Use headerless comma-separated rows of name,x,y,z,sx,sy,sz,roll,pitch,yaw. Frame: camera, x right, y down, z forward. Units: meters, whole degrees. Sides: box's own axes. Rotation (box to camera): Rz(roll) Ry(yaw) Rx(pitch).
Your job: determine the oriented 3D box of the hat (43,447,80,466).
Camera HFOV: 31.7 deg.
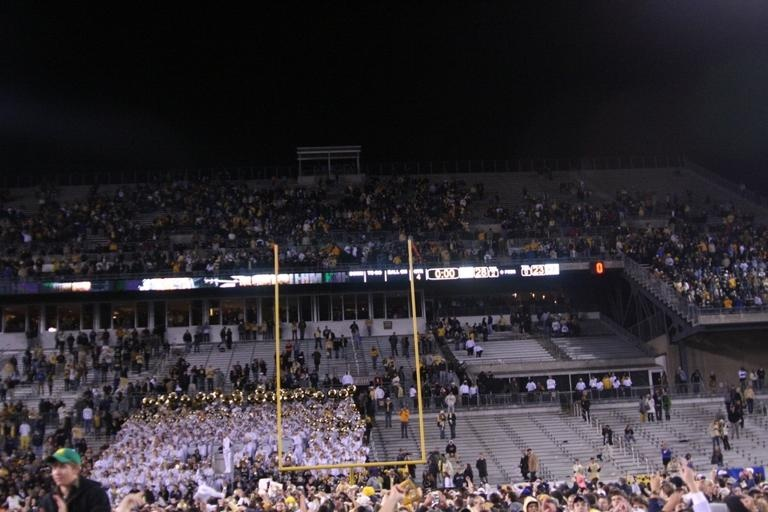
hat,-12.012,7.435,50.675,0.876,0.429,0.658,11,-2,-5
